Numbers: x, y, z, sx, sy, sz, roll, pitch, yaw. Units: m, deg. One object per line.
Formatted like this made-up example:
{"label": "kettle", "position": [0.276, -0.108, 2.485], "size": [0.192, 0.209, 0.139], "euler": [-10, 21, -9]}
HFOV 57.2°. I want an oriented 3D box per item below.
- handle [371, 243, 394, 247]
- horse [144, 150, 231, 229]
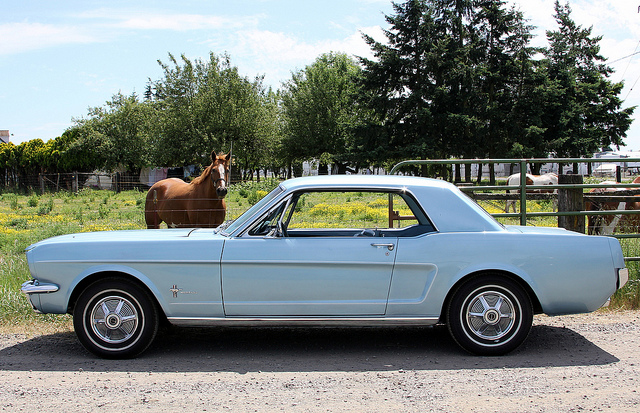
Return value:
{"label": "handle", "position": [0.950, 0.583, 8.931], "size": [0.331, 0.039, 0.037], "euler": [-1, 14, -2]}
{"label": "horse", "position": [-3.062, -0.313, 14.399], "size": [1.174, 2.069, 2.758], "euler": [-12, 18, -40]}
